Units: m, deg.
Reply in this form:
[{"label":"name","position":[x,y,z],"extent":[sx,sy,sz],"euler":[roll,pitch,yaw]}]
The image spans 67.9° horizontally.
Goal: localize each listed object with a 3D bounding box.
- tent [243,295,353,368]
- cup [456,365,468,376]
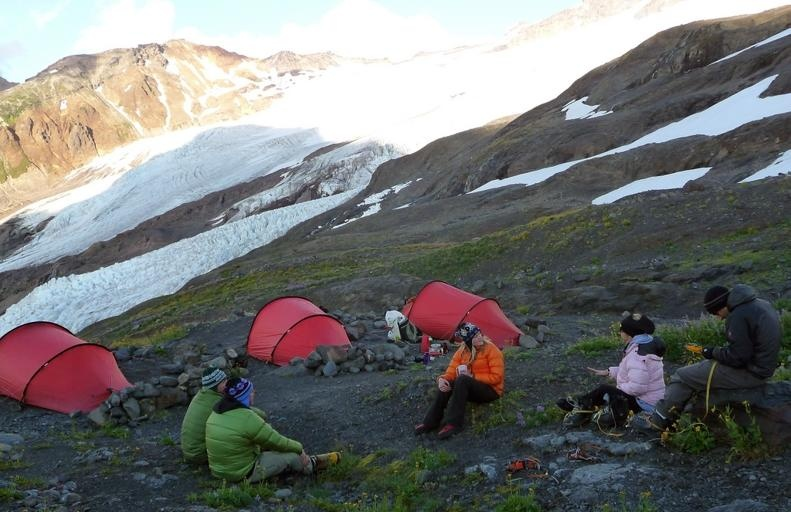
[{"label":"tent","position":[-4.533,3.418,27.005],"extent":[3.806,1.523,3.627],"euler":[-2,13,-21]},{"label":"cup","position":[2.298,3.898,20.042],"extent":[0.520,0.269,0.531],"euler":[3,-27,2]}]
